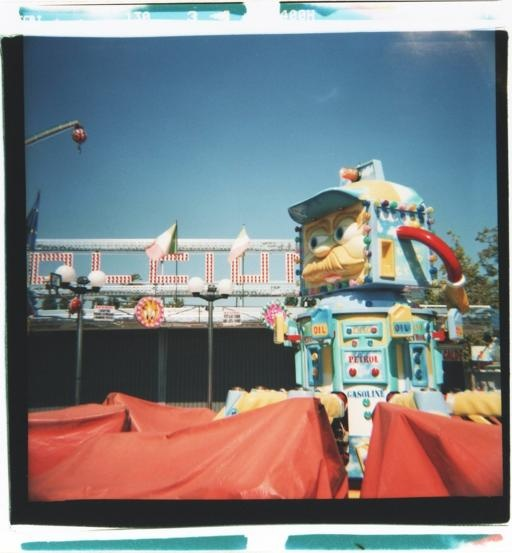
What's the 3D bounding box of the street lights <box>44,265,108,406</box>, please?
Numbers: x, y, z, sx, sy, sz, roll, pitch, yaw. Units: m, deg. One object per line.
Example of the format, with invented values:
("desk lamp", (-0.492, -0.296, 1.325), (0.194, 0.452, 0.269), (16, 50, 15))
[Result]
("street lights", (-3.141, 1.127, 11.223), (0.766, 2.510, 0.875), (1, -5, 6))
